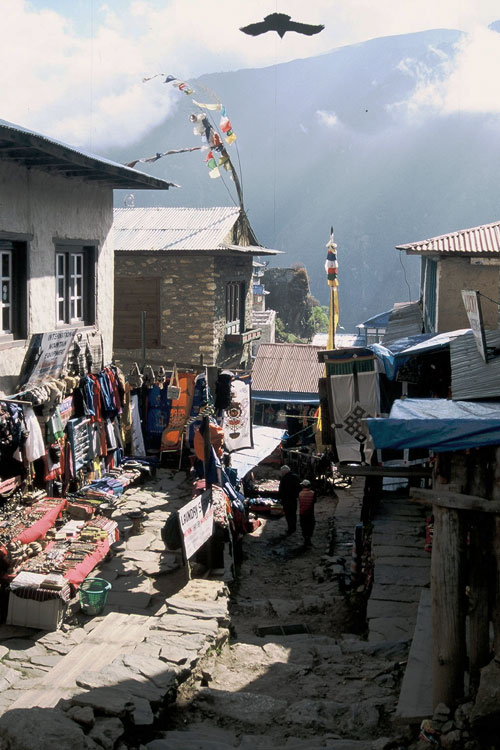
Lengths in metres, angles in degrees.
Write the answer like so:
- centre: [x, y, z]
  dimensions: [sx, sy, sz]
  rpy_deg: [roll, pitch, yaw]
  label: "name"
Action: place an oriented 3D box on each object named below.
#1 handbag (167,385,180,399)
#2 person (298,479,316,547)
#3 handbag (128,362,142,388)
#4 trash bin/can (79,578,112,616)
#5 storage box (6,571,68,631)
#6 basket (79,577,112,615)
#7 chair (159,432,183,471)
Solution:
- centre: [-1.687, 0.378, 15.510]
  dimensions: [0.236, 0.330, 0.109]
  rpy_deg: [6, 26, -2]
  label: "handbag"
- centre: [1.188, 2.863, 14.588]
  dimensions: [0.345, 1.104, 0.860]
  rpy_deg: [-6, -3, 3]
  label: "person"
- centre: [-2.772, 0.006, 16.884]
  dimensions: [0.453, 0.723, 0.120]
  rpy_deg: [11, 31, 15]
  label: "handbag"
- centre: [-1.953, 2.785, 8.827]
  dimensions: [0.335, 0.331, 0.359]
  rpy_deg: [22, 15, 28]
  label: "trash bin/can"
- centre: [-2.527, 2.679, 8.385]
  dimensions: [0.569, 0.579, 0.591]
  rpy_deg: [5, -1, -2]
  label: "storage box"
- centre: [-1.953, 2.783, 8.828]
  dimensions: [0.335, 0.323, 0.357]
  rpy_deg: [23, 17, 33]
  label: "basket"
- centre: [-1.755, 1.690, 15.752]
  dimensions: [0.665, 0.626, 0.364]
  rpy_deg: [-7, -3, 16]
  label: "chair"
